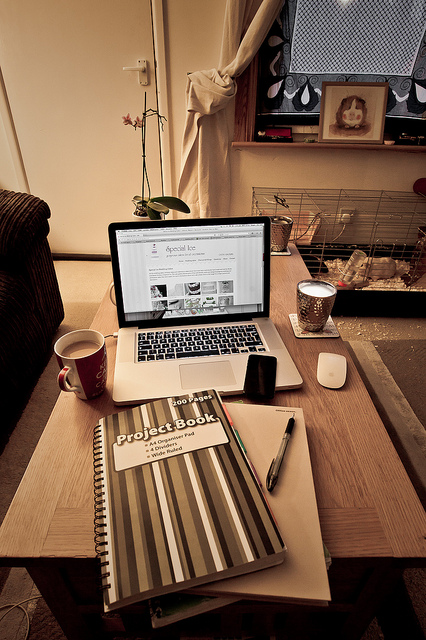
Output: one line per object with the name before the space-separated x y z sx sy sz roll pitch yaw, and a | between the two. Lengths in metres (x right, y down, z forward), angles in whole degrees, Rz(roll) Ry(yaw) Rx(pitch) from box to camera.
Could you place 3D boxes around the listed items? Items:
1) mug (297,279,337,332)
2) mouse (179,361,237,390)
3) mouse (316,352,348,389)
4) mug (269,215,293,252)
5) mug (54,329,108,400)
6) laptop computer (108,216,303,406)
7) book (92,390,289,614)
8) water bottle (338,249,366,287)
mug | 0.227 -0.028 0.949 0.081 0.100 0.087 -8 29 -18
mouse | -0.008 0.106 0.792 0.050 0.002 0.062 -2 29 -4
mouse | 0.227 0.085 0.803 0.040 0.017 0.075 5 46 15
mug | 0.219 -0.281 1.410 0.098 0.116 0.108 -9 33 -9
mug | -0.230 0.082 0.749 0.085 0.104 0.136 -5 29 -16
laptop computer | -0.021 -0.034 0.816 0.350 0.257 0.279 -2 28 -10
book | -0.058 0.219 0.601 0.231 0.052 0.324 -2 26 -10
water bottle | 0.647 -0.243 1.959 0.098 0.196 0.094 2 26 -1
